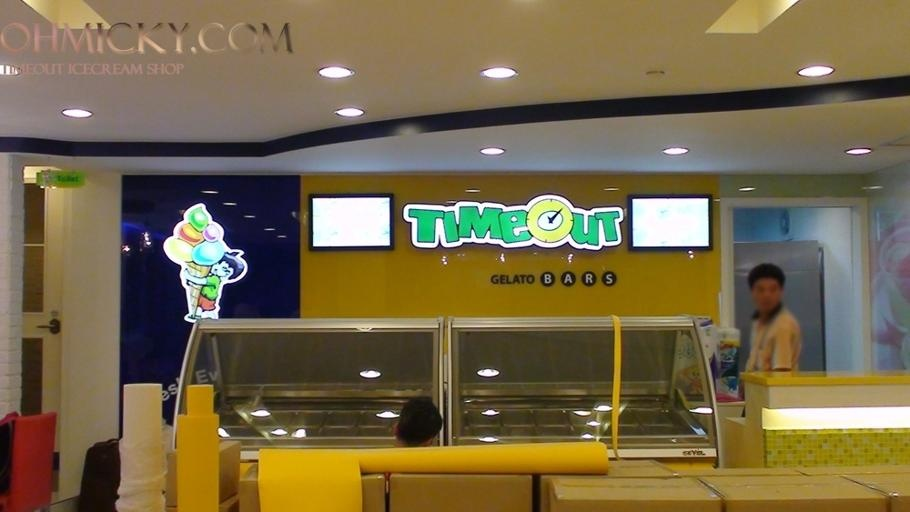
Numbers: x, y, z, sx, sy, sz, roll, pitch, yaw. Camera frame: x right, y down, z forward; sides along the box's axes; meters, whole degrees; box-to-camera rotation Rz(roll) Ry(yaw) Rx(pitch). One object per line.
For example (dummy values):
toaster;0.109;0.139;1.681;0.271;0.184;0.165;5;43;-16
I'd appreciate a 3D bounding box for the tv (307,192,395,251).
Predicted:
tv;-1.032;-0.339;7.494;0.699;0.402;0.033;0;-4;-1

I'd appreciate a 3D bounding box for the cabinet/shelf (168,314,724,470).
cabinet/shelf;-0.098;1.057;6.319;2.831;1.289;0.826;0;13;-4

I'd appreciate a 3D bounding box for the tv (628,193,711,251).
tv;2.186;-0.342;7.538;0.865;0.498;0.055;0;5;5

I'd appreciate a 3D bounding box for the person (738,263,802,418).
person;2.985;0.572;6.954;0.401;1.010;0.655;0;-7;-1
